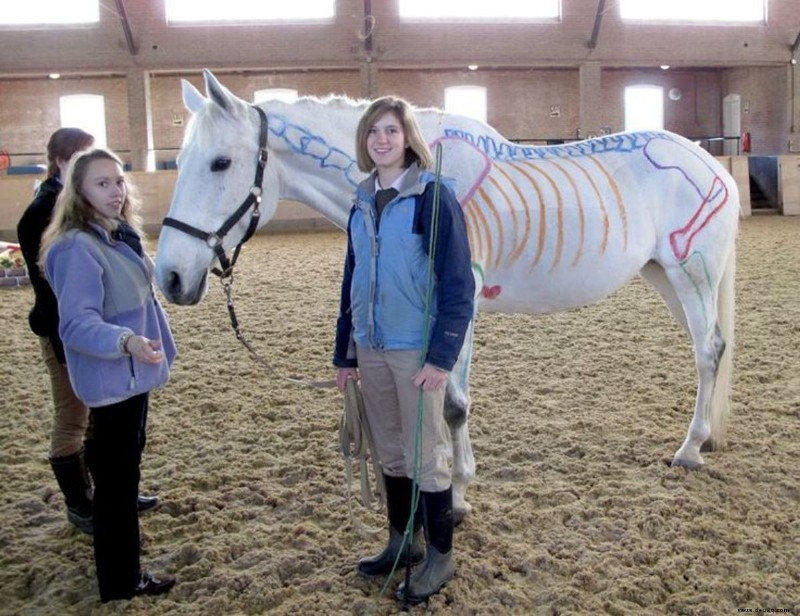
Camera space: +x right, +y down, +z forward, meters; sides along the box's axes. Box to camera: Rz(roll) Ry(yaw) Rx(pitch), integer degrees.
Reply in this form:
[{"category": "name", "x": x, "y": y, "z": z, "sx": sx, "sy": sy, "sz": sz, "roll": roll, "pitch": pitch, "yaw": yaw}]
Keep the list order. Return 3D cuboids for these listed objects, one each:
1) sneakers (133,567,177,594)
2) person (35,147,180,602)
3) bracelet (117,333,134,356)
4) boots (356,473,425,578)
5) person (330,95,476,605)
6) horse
[{"category": "sneakers", "x": -0.945, "y": 1.051, "z": 2.811, "sx": 0.162, "sy": 0.079, "sz": 0.062, "roll": -6, "pitch": 38, "yaw": -15}, {"category": "person", "x": -1.069, "y": 0.254, "z": 2.734, "sx": 0.464, "sy": 1.650, "sz": 0.530, "roll": -3, "pitch": 11, "yaw": -23}, {"category": "bracelet", "x": -0.944, "y": 0.118, "z": 2.529, "sx": 0.048, "sy": 0.058, "sz": 0.020, "roll": -34, "pitch": -21, "yaw": 16}, {"category": "boots", "x": -0.042, "y": 0.817, "z": 2.858, "sx": 0.263, "sy": 0.386, "sz": 0.120, "roll": -6, "pitch": 9, "yaw": -11}, {"category": "person", "x": -0.002, "y": 0.163, "z": 2.702, "sx": 0.528, "sy": 1.815, "sz": 0.328, "roll": 3, "pitch": 10, "yaw": 7}, {"category": "horse", "x": 0.360, "y": 0.015, "z": 3.493, "sx": 2.623, "sy": 2.091, "sz": 0.662, "roll": -1, "pitch": 17, "yaw": -3}]
